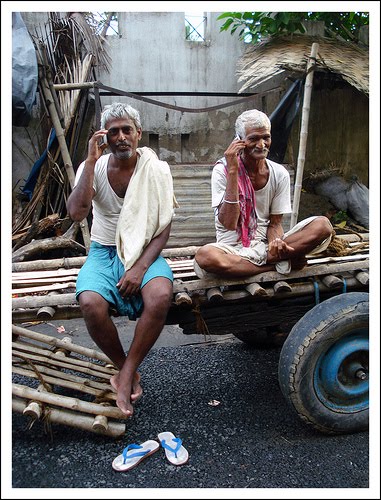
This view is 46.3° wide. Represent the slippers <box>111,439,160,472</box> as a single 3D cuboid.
[{"bbox_3d":[-0.291,1.077,2.353,0.086,0.047,0.204,4,13,44],"label":"slippers"}]

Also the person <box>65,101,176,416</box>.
[{"bbox_3d":[-0.381,0.048,2.741,0.685,1.963,0.906,-4,10,-16],"label":"person"}]

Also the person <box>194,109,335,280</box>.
[{"bbox_3d":[0.484,-0.404,2.980,0.958,1.084,0.665,-2,9,-3],"label":"person"}]
